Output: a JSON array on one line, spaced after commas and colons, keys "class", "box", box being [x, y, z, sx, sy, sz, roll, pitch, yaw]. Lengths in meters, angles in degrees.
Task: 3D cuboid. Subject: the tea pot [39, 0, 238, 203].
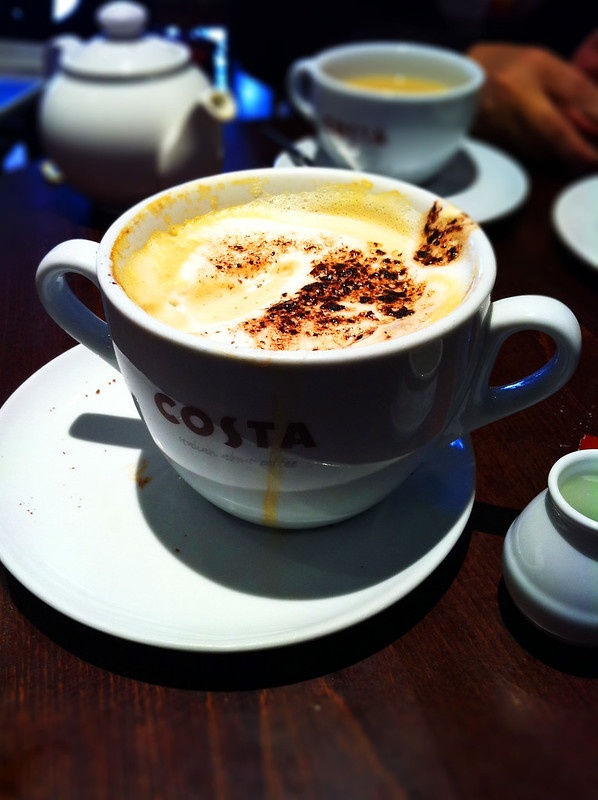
[{"class": "tea pot", "box": [-0.193, -0.375, 0.917, 0.276, 0.200, 0.194, 24, 51, 23]}]

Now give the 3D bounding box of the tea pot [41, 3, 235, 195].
[{"class": "tea pot", "box": [-0.246, -0.396, 0.939, 0.269, 0.189, 0.190, 25, 50, 26]}]
